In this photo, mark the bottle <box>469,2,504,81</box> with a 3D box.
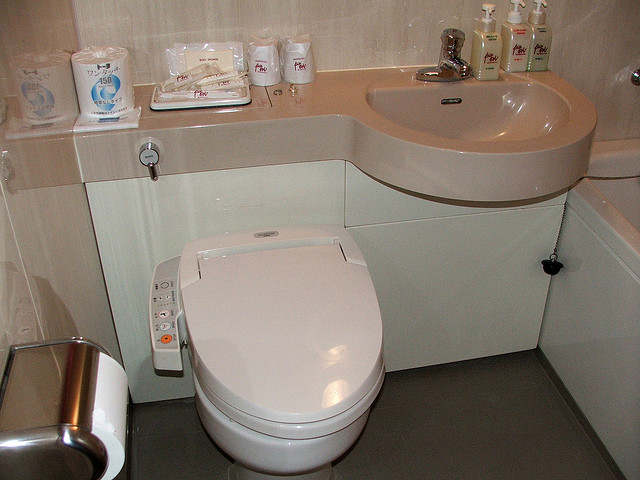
[{"bbox_3d":[0.487,-0.581,1.371,0.079,0.250,0.094,-6,37,-2],"label":"bottle"}]

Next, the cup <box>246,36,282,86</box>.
[{"bbox_3d":[-0.162,-0.525,1.353,0.102,0.126,0.115,15,41,21],"label":"cup"}]

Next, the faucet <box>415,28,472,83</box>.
[{"bbox_3d":[0.375,-0.554,1.432,0.165,0.158,0.213,15,42,11],"label":"faucet"}]

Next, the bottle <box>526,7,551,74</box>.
[{"bbox_3d":[0.649,-0.590,1.391,0.073,0.167,0.047,11,30,21],"label":"bottle"}]

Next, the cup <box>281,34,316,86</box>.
[{"bbox_3d":[-0.066,-0.533,1.358,0.099,0.119,0.115,-4,43,-6],"label":"cup"}]
